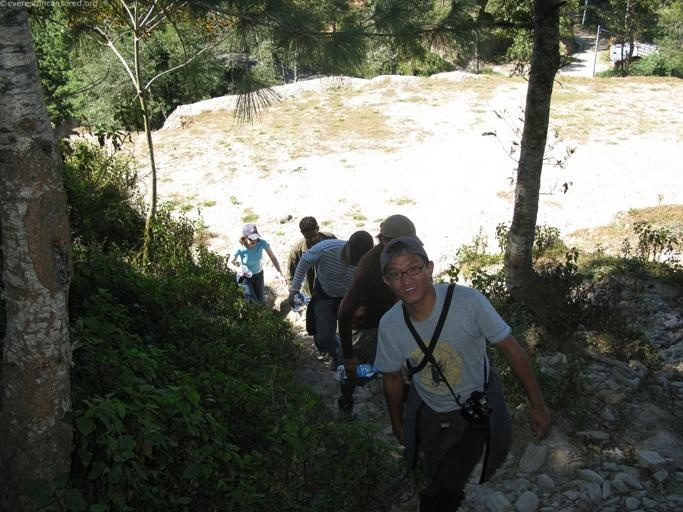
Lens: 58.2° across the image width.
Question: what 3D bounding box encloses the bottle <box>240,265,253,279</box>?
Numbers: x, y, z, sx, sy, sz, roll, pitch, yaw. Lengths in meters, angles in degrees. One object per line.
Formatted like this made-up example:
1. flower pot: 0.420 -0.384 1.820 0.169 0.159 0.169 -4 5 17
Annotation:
1. bottle: -1.388 0.234 8.952 0.190 0.194 0.112 -2 12 -8

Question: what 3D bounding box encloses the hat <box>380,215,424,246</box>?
1. hat: 0.549 -0.248 5.942 0.304 0.183 0.242 1 25 0

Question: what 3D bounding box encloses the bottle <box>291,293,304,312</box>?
1. bottle: -0.568 0.593 7.822 0.191 0.240 0.310 -4 -2 -1

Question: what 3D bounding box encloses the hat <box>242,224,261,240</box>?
1. hat: -1.329 -0.354 9.066 0.245 0.224 0.390 0 12 -3

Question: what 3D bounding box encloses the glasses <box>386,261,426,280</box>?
1. glasses: 0.502 0.132 4.792 0.301 0.131 0.089 1 12 3

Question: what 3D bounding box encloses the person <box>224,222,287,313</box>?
1. person: -1.265 0.339 9.129 0.760 1.602 0.638 -8 14 -10

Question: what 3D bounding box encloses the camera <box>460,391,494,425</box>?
1. camera: 1.061 1.203 4.841 0.233 0.260 0.087 2 12 9

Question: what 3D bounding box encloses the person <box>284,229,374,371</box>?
1. person: -0.133 0.539 7.418 0.947 1.890 0.807 5 24 -2

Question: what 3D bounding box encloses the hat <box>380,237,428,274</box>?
1. hat: 0.499 -0.041 4.875 0.326 0.189 0.241 -21 14 -26
